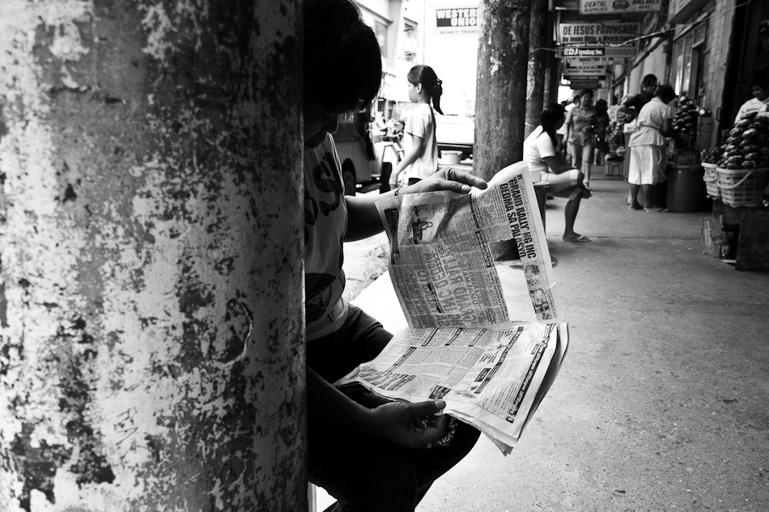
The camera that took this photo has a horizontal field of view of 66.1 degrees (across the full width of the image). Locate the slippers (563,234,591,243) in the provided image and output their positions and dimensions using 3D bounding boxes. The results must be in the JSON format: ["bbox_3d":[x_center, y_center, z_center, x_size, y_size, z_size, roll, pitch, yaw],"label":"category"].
[{"bbox_3d":[2.036,-0.190,6.250,0.243,0.105,0.119,-1,6,6],"label":"slippers"}]

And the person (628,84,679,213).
[{"bbox_3d":[3.709,-1.506,8.245,0.521,1.691,0.873,4,15,26],"label":"person"}]

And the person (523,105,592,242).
[{"bbox_3d":[1.773,-0.824,6.050,0.664,1.431,0.982,1,14,17],"label":"person"}]

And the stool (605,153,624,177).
[{"bbox_3d":[5.182,-2.034,13.225,0.447,0.547,0.737,4,8,20],"label":"stool"}]
